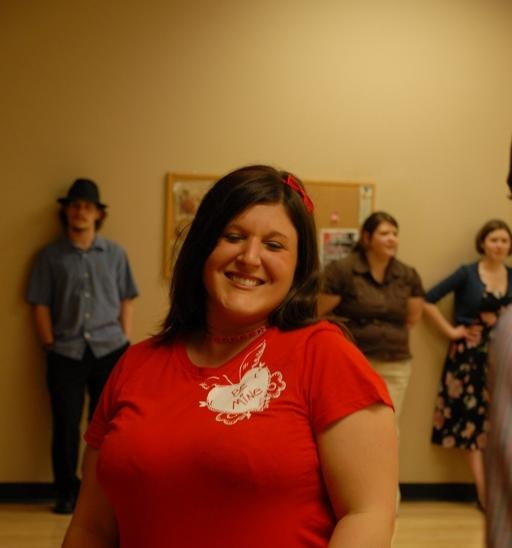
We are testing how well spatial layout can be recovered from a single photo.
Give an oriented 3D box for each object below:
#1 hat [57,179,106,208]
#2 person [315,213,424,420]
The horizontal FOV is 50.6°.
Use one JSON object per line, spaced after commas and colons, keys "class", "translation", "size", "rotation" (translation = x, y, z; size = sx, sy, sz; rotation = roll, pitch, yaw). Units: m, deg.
{"class": "hat", "translation": [-0.987, -0.469, 3.076], "size": [0.143, 0.108, 0.194], "rotation": [1, -20, 9]}
{"class": "person", "translation": [0.664, 0.424, 3.097], "size": [0.536, 1.540, 0.472], "rotation": [0, 5, 3]}
